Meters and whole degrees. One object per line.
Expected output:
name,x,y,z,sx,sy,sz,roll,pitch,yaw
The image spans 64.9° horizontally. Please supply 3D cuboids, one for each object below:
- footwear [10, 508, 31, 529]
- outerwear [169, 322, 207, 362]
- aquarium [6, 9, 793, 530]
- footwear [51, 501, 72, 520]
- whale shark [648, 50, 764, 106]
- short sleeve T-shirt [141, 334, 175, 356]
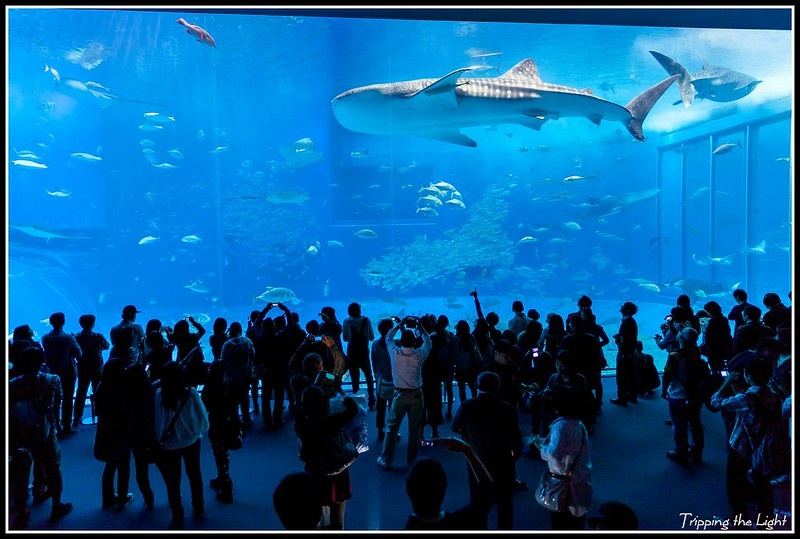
footwear,-14.651,9.617,24.153,0.612,0.731,0.224,-2,-2,-21
outerwear,-8.497,2.829,25.139,1.406,1.734,0.689,-3,-1,20
aquarium,-1.068,-2.453,41.088,45.942,22.907,0.250,0,-4,-3
footwear,-13.145,9.406,24.516,0.463,0.354,0.924,3,6,12
whale shark,15.617,-9.881,31.866,5.873,2.129,2.479,-8,7,-21
short sleeve T-shirt,-9.619,2.984,24.877,0.888,0.993,1.075,4,19,8
